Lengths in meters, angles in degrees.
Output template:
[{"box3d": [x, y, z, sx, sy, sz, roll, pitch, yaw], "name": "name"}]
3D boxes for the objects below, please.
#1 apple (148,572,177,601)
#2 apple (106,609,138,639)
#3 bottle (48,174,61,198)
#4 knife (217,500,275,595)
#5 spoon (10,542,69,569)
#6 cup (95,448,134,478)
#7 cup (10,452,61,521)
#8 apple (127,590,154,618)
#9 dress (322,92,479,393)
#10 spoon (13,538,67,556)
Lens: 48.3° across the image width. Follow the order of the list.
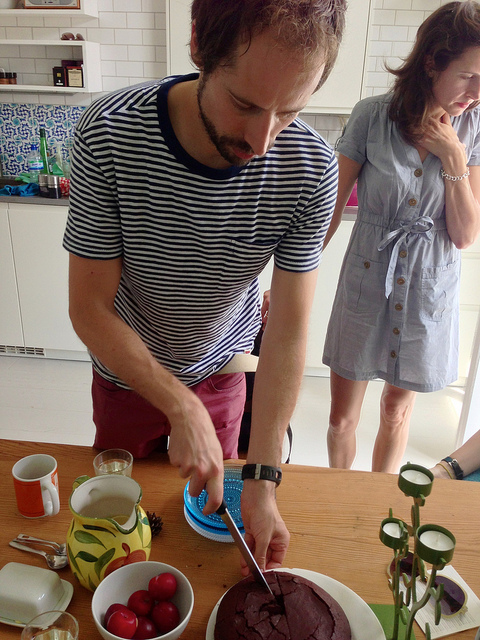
[{"box3d": [-0.103, 0.343, 0.701, 0.034, 0.031, 0.032, 3, -6, -14], "name": "apple"}, {"box3d": [-0.139, 0.364, 0.643, 0.029, 0.034, 0.029, 13, 16, 3], "name": "apple"}, {"box3d": [-1.044, -0.765, 3.029, 0.060, 0.123, 0.197, 2, 21, -11], "name": "bottle"}, {"box3d": [0.010, 0.351, 0.819, 0.159, 0.019, 0.014, 54, 34, 5], "name": "knife"}, {"box3d": [-0.305, 0.344, 0.823, 0.114, 0.015, 0.031, 7, 13, 38], "name": "spoon"}, {"box3d": [-0.229, 0.260, 0.981, 0.064, 0.055, 0.071, 1, 35, -1], "name": "cup"}, {"box3d": [-0.339, 0.295, 0.917, 0.072, 0.082, 0.111, -15, 30, -37], "name": "cup"}, {"box3d": [-0.129, 0.363, 0.686, 0.025, 0.024, 0.024, 9, 39, -12], "name": "apple"}, {"box3d": [0.547, -0.241, 1.800, 0.554, 0.961, 0.266, 9, 21, 7], "name": "dress"}, {"box3d": [-0.317, 0.357, 0.844, 0.084, 0.011, 0.015, 9, 22, 6], "name": "spoon"}]
